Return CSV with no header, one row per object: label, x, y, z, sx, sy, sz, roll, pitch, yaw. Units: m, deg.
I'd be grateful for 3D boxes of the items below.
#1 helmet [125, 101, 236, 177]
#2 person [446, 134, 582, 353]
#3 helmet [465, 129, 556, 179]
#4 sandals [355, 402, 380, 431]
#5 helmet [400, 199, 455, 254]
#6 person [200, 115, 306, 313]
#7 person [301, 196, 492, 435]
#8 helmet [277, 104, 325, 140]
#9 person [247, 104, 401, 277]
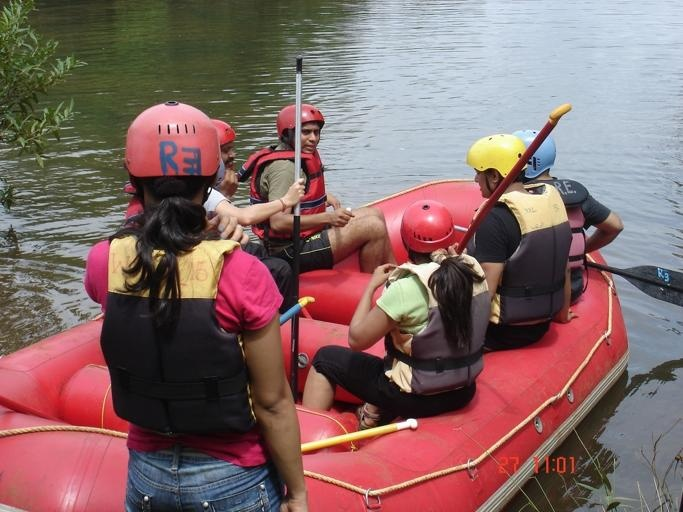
helmet,-0.644,-0.442,2.791,0.301,0.206,0.323,-3,9,-5
person,1.070,-0.130,4.986,1.031,1.414,1.068,4,17,25
helmet,1.068,-0.686,4.723,0.540,0.303,0.397,-13,14,7
sandals,0.175,0.953,4.348,0.155,0.170,0.121,6,14,8
helmet,0.456,-0.160,4.109,0.350,0.251,0.337,-4,19,-15
person,-0.647,-0.260,5.124,0.832,1.448,0.544,7,37,17
person,0.305,0.437,4.397,1.121,1.504,0.857,12,16,27
helmet,-0.332,-1.114,5.938,0.312,0.309,0.384,-7,17,-32
person,-0.084,-0.474,5.953,1.353,1.629,0.926,-4,14,2
